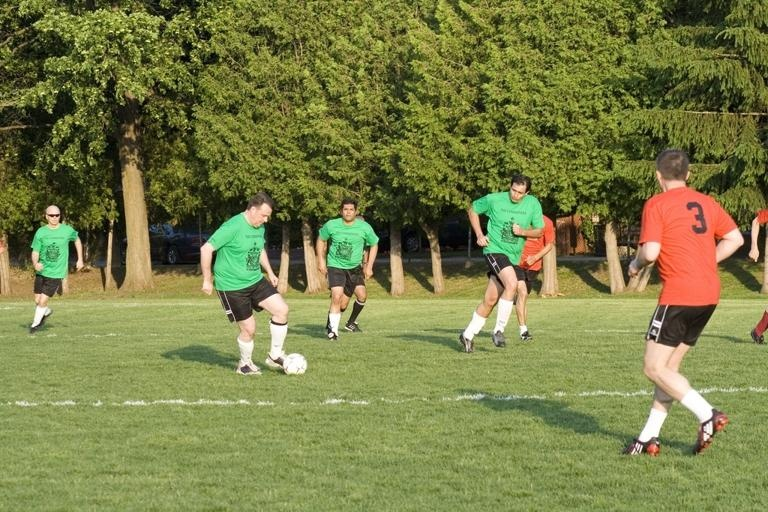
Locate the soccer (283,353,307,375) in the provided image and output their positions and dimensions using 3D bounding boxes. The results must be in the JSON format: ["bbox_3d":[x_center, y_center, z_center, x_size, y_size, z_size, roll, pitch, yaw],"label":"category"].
[{"bbox_3d":[-1.634,1.962,18.398,0.363,0.367,0.373,20,41,-18],"label":"soccer"}]

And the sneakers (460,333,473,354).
[{"bbox_3d":[1.651,1.729,19.883,0.222,0.452,0.163,-20,4,0],"label":"sneakers"}]

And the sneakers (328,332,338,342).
[{"bbox_3d":[-1.124,1.726,21.625,0.177,0.138,0.144,-40,31,-25],"label":"sneakers"}]

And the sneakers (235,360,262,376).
[{"bbox_3d":[-2.523,2.071,18.423,0.430,0.213,0.215,0,4,-15],"label":"sneakers"}]

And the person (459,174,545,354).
[{"bbox_3d":[2.318,0.097,20.008,1.453,3.720,1.175,5,-3,24],"label":"person"}]

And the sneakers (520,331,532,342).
[{"bbox_3d":[3.043,1.705,21.362,0.168,0.173,0.371,-1,-4,-1],"label":"sneakers"}]

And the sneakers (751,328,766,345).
[{"bbox_3d":[7.698,1.641,20.406,0.168,0.462,0.188,-19,23,-35],"label":"sneakers"}]

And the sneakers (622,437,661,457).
[{"bbox_3d":[3.926,2.892,15.153,0.563,0.254,0.245,0,1,11],"label":"sneakers"}]

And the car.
[{"bbox_3d":[-10.531,-0.577,49.128,1.704,2.422,4.525,-13,16,-42],"label":"car"}]

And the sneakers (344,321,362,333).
[{"bbox_3d":[-0.730,1.644,23.088,0.417,0.199,0.171,1,3,28],"label":"sneakers"}]
